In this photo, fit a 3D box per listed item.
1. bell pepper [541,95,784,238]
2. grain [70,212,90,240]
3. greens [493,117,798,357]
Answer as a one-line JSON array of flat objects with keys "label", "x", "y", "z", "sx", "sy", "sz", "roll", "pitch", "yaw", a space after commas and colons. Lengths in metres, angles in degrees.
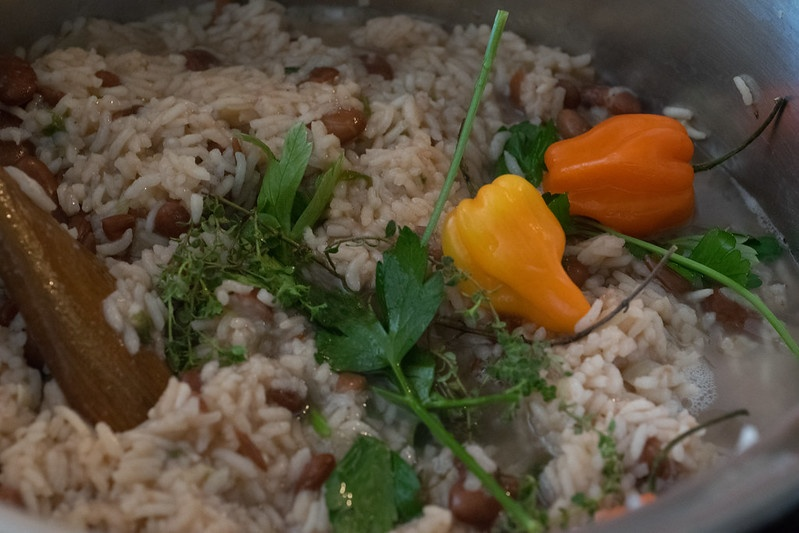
[{"label": "bell pepper", "x": 0.534, "y": -0.224, "z": 1.654, "sx": 0.460, "sy": 0.243, "sz": 0.261, "roll": -11, "pitch": 104, "yaw": 3}, {"label": "grain", "x": -0.611, "y": -0.077, "z": 1.478, "sx": 0.039, "sy": 0.019, "sz": 0.049, "roll": -20, "pitch": 78, "yaw": -30}, {"label": "greens", "x": 0.535, "y": -0.077, "z": 1.639, "sx": 0.436, "sy": 0.170, "sz": 0.462, "roll": 0, "pitch": 51, "yaw": 7}]
